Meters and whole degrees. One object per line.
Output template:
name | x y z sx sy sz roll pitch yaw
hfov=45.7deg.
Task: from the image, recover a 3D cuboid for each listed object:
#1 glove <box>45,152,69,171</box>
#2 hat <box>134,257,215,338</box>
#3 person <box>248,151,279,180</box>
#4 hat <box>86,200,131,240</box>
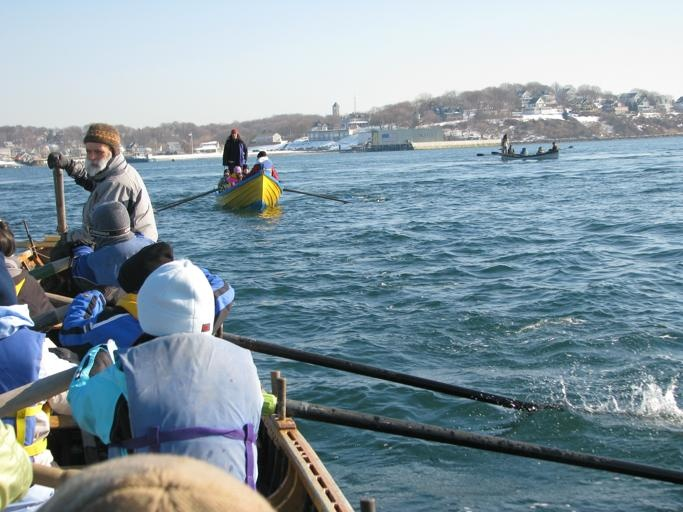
glove | -3.412 -1.153 9.641 0.195 0.250 0.196 -28 -32 -5
hat | -1.018 0.255 5.035 0.398 0.428 0.501 16 17 -44
person | -2.330 -2.746 24.517 0.783 0.276 0.939 0 -24 -1
hat | -1.941 -0.325 6.865 0.294 0.278 0.361 -13 35 -28
